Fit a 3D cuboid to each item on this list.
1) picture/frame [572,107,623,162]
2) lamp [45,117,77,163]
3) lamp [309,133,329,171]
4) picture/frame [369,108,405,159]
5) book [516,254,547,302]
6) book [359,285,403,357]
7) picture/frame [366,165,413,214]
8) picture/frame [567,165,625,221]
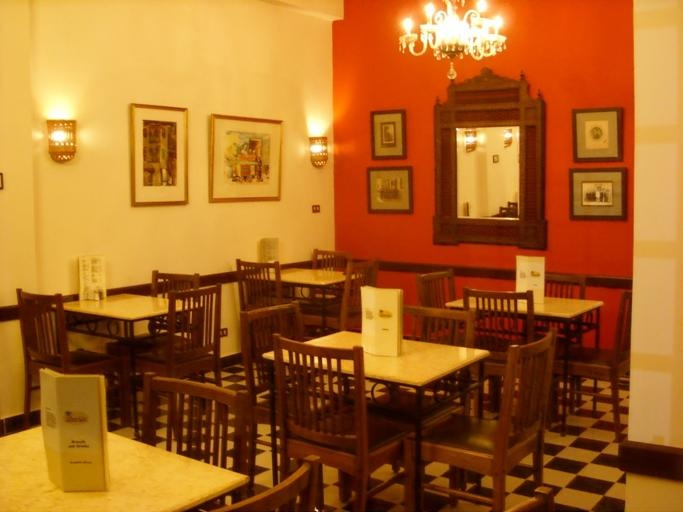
[{"bbox_3d":[2.672,-1.270,6.102,0.556,0.669,0.078,3,6,42],"label":"picture/frame"},{"bbox_3d":[-2.474,-1.017,5.214,0.248,0.378,0.127,-6,6,-43],"label":"lamp"},{"bbox_3d":[-0.255,-1.347,7.675,0.173,0.417,0.377,1,5,31],"label":"lamp"},{"bbox_3d":[0.590,-1.558,7.421,0.608,0.780,0.057,3,8,35],"label":"picture/frame"},{"bbox_3d":[1.647,0.212,5.134,0.219,0.409,0.157,0,4,19],"label":"book"},{"bbox_3d":[0.239,0.394,3.521,0.239,0.418,0.227,-2,4,1],"label":"book"},{"bbox_3d":[0.630,-0.853,7.475,0.613,0.649,0.045,1,2,30],"label":"picture/frame"},{"bbox_3d":[2.685,-0.663,6.144,0.561,0.591,0.039,3,7,35],"label":"picture/frame"}]
